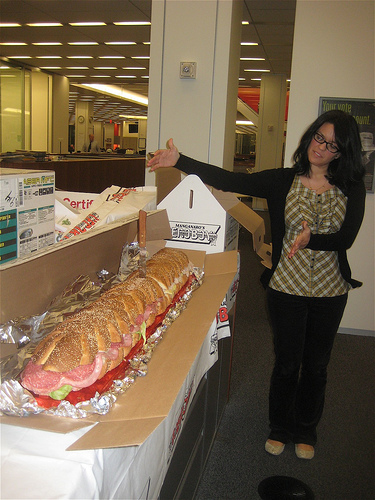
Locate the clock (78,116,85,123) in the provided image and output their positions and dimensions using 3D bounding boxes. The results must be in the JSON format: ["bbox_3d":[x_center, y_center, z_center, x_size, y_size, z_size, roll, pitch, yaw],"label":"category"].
[{"bbox_3d":[-5.724,-7.056,18.994,0.355,0.375,0.320,-1,12,-18],"label":"clock"}]

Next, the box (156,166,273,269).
[{"bbox_3d":[0.075,-0.191,1.790,0.604,0.442,0.413,10,16,21],"label":"box"}]

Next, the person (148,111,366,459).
[{"bbox_3d":[0.434,0.256,1.657,0.715,1.740,0.368,0,12,-14],"label":"person"}]
